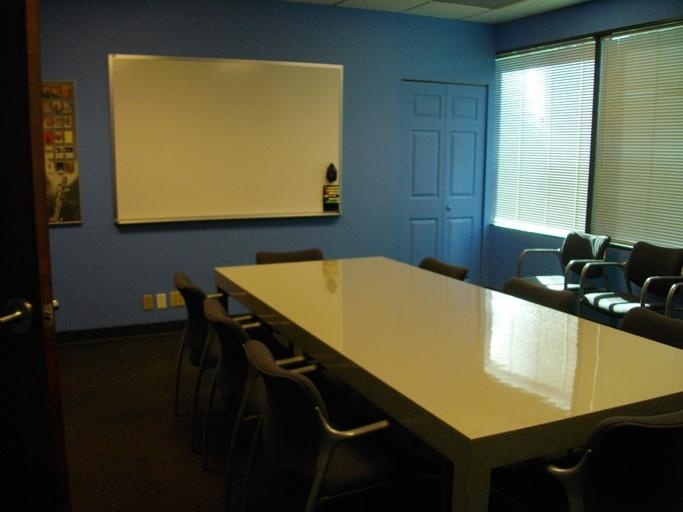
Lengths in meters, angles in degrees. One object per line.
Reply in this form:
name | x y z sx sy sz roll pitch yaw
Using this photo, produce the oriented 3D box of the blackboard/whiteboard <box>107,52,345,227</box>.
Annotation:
blackboard/whiteboard | -1.068 -1.037 4.768 1.433 1.097 0.053 -3 6 -22
